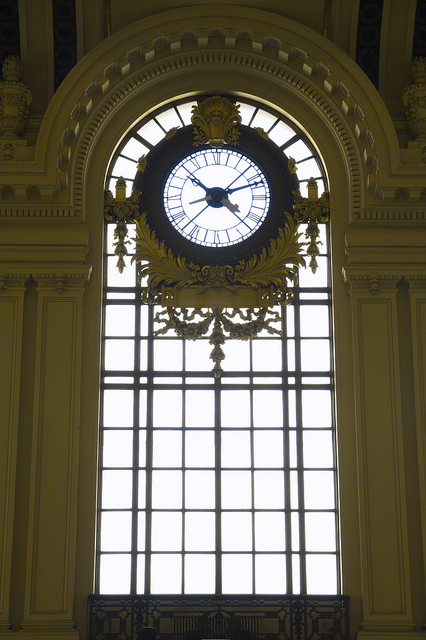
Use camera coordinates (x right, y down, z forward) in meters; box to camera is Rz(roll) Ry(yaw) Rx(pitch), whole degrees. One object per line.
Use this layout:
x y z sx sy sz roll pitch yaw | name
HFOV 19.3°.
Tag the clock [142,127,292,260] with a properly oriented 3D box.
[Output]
0.030 -1.279 13.187 1.314 1.398 0.089 1 -17 1 | clock
